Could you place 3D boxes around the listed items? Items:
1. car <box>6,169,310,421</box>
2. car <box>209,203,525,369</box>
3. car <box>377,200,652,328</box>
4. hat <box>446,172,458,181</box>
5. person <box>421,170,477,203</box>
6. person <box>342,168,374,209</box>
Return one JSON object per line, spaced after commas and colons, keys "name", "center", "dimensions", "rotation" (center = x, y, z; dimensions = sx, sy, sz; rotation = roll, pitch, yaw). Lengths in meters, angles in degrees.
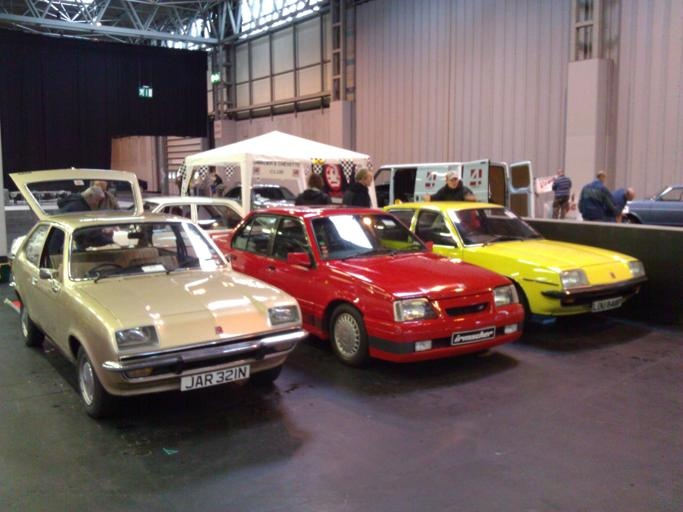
{"name": "car", "center": [-2.107, 0.167, 5.042], "dimensions": [1.520, 1.432, 3.293], "rotation": [-6, 16, -39]}
{"name": "car", "center": [0.016, 0.161, 6.124], "dimensions": [1.657, 1.217, 3.626], "rotation": [-6, 14, -37]}
{"name": "car", "center": [2.070, 0.008, 6.998], "dimensions": [1.582, 1.099, 3.560], "rotation": [-6, 13, -37]}
{"name": "hat", "center": [1.903, -1.391, 8.701], "dimensions": [0.132, 0.143, 0.175], "rotation": [-29, 12, -24]}
{"name": "person", "center": [1.935, -1.209, 8.685], "dimensions": [0.743, 0.497, 0.255], "rotation": [3, 11, 16]}
{"name": "person", "center": [0.276, -1.216, 8.980], "dimensions": [0.313, 0.670, 0.716], "rotation": [7, 13, 34]}
